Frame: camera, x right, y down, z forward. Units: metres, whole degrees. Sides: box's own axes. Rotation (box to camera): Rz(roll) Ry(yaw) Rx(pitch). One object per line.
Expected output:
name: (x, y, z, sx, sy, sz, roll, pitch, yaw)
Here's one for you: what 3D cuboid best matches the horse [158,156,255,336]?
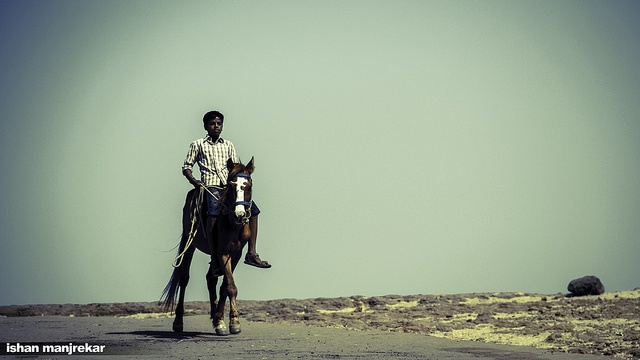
horse: (-3.157, 2.112, 25.277, 1.697, 4.609, 7.638, 5, -7, -22)
